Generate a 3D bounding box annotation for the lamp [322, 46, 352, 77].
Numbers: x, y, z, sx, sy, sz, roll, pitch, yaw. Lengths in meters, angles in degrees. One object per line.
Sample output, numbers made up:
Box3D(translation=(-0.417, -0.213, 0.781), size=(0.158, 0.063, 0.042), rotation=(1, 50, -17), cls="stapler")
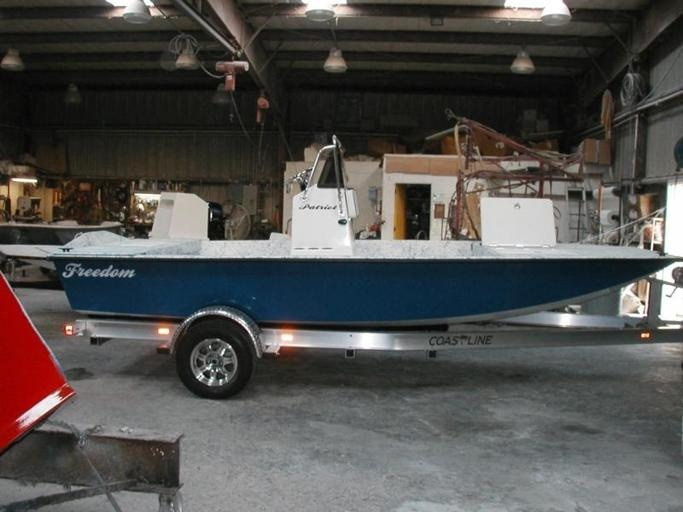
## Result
Box3D(translation=(-0.124, -3.777, 11.861), size=(0.377, 0.498, 0.460), rotation=(0, 3, 3), cls="lamp")
